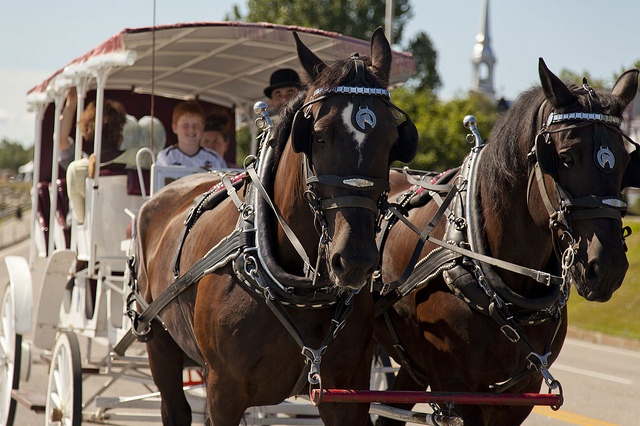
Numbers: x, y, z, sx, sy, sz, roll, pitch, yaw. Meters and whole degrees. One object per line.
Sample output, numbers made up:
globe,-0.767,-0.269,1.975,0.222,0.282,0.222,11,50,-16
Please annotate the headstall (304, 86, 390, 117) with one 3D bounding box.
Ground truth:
headstall,0.225,-1.094,12.250,0.499,0.349,0.712,-6,16,-27

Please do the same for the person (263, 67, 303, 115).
person,-0.433,-1.428,15.332,0.631,0.406,0.765,-2,-13,-3

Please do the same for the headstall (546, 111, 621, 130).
headstall,2.461,-0.866,12.407,0.671,0.154,0.127,3,1,9

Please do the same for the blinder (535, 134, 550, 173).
blinder,2.066,-0.560,12.374,0.190,0.280,0.075,-5,-7,38

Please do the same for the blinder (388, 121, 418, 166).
blinder,0.769,-0.640,12.215,0.262,0.345,0.173,3,1,0

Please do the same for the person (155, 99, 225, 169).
person,-1.576,-0.933,16.117,0.810,1.067,0.441,4,-15,-14
